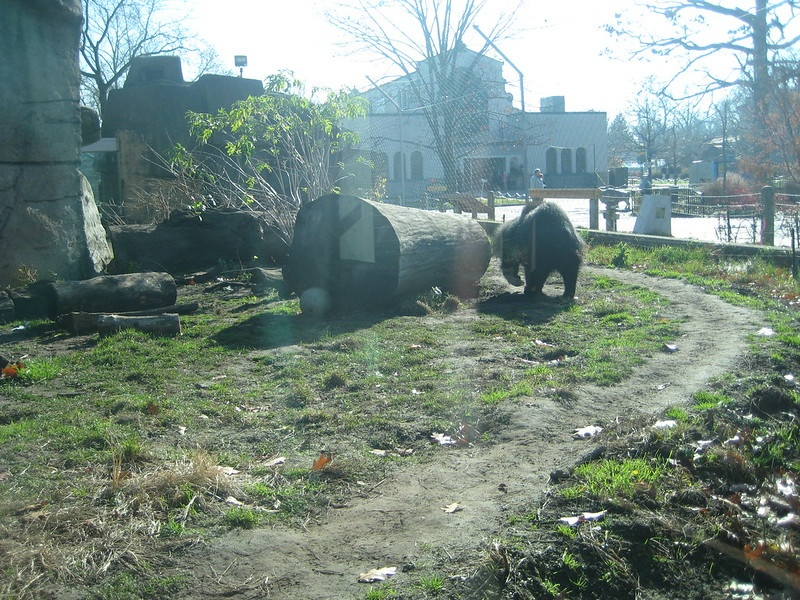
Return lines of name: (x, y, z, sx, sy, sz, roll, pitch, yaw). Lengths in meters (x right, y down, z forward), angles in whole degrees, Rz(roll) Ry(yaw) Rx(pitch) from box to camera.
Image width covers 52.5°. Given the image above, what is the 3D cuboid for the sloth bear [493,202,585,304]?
sloth bear: (2.119, -0.811, 12.558, 0.738, 1.421, 1.541, -3, 8, -21)
